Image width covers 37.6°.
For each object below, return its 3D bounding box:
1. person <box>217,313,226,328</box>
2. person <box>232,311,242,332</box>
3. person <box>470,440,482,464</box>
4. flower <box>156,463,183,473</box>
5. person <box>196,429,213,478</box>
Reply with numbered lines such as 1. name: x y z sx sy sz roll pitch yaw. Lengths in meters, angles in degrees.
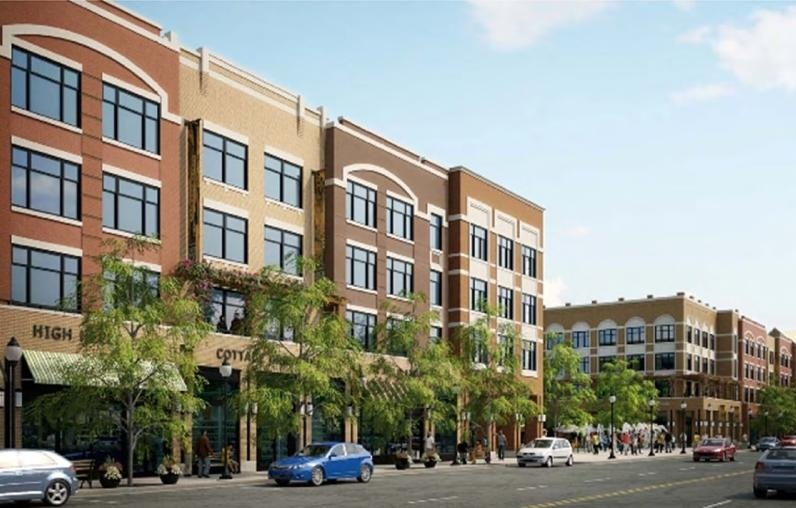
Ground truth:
1. person: -10.708 3.986 71.201 0.134 0.880 0.581 -17 -23 38
2. person: -9.932 4.091 71.777 0.714 1.477 0.333 1 -18 -10
3. person: 5.529 13.818 82.407 1.067 1.390 1.373 3 -19 1
4. flower: -12.340 11.404 62.825 1.145 0.566 0.459 -2 -18 -2
5. person: -10.996 11.236 66.277 0.719 2.475 1.583 1 -19 -10
